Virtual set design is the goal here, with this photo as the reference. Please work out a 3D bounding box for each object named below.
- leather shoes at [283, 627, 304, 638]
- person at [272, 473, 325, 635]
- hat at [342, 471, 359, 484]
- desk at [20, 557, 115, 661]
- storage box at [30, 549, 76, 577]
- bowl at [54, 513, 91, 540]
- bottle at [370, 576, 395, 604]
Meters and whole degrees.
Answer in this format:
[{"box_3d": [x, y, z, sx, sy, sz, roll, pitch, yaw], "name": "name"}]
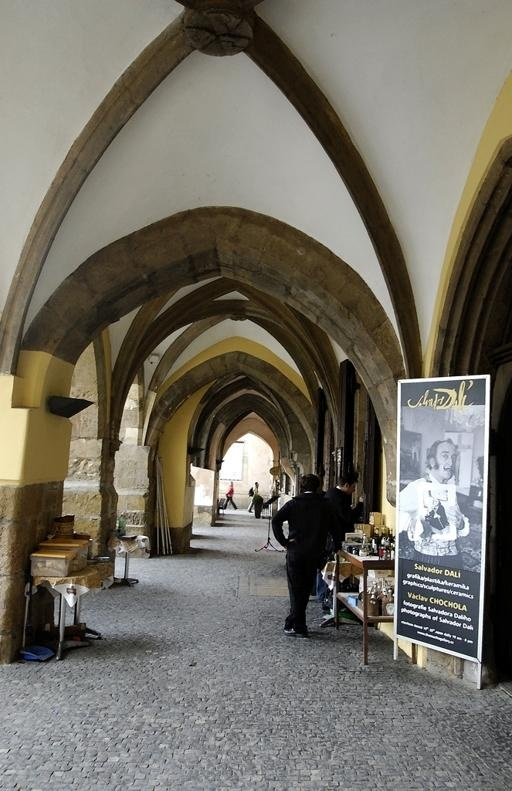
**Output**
[{"box_3d": [0.299, 1.878, 3.998, 0.181, 0.055, 0.097, -4, -13, 27], "name": "leather shoes"}, {"box_3d": [0.353, 1.304, 4.210, 0.490, 1.267, 0.469, 3, -11, -10], "name": "person"}, {"box_3d": [0.889, 0.812, 4.899, 0.108, 0.119, 0.306, -2, -12, 17], "name": "hat"}, {"box_3d": [-1.290, 1.494, 3.494, 0.413, 0.438, 0.439, -23, -17, 40], "name": "desk"}, {"box_3d": [-1.322, 1.127, 3.353, 0.170, 0.123, 0.186, 0, -4, 1], "name": "storage box"}, {"box_3d": [-1.399, 1.010, 3.958, 0.200, 0.146, 0.216, 2, -9, 0], "name": "bowl"}, {"box_3d": [0.869, 1.355, 3.574, 0.116, 0.193, 0.069, 3, -3, 5], "name": "bottle"}]
